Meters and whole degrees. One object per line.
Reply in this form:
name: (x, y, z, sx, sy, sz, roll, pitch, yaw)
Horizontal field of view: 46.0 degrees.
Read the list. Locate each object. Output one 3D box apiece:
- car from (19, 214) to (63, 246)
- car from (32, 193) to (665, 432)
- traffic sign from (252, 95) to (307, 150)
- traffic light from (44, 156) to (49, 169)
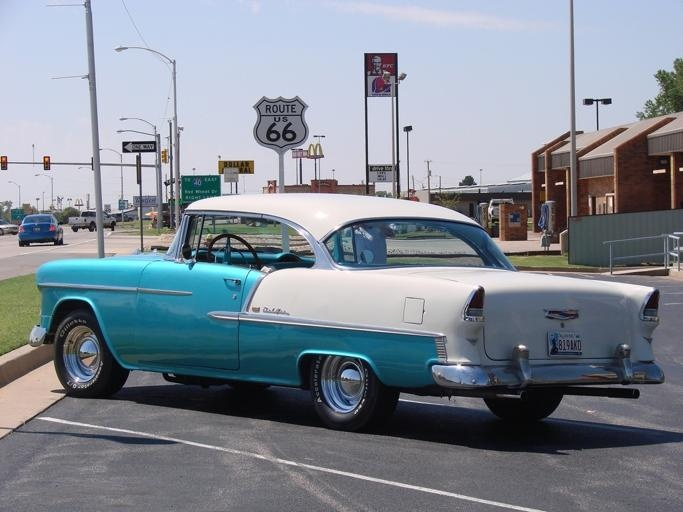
car: (-17.497, -1.619, 47.723, 1.371, 1.079, 3.124, -2, 3, 0)
car: (-0.202, 0.475, 8.290, 5.469, 1.731, 2.607, 2, 0, 33)
traffic sign: (-1.048, -2.315, 14.113, 0.921, 0.975, 0.531, 0, 4, -5)
traffic light: (-22.944, -7.234, 62.696, 0.304, 0.945, 1.251, -1, 4, -15)
